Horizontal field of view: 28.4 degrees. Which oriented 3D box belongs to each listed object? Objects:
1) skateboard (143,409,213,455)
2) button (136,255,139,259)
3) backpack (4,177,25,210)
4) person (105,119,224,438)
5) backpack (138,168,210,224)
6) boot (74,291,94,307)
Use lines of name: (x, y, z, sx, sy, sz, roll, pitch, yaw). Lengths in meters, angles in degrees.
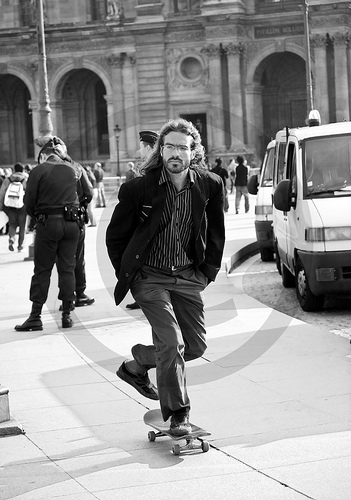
skateboard: (-0.005, 0.975, 3.703, 0.152, 0.104, 0.395, 2, -2, -24)
button: (-0.197, 0.039, 3.638, 0.014, 0.018, 0.005, 0, 5, 12)
backpack: (-3.801, -1.331, 16.412, 0.453, 0.784, 0.472, -3, 5, -13)
person: (-0.036, 0.128, 3.664, 0.647, 1.633, 0.473, -2, 5, -4)
backpack: (0.001, -0.280, 3.665, 0.377, 0.309, 0.257, -5, 1, 21)
boot: (-1.127, 0.598, 8.541, 0.124, 0.181, 0.275, 2, 5, 37)
